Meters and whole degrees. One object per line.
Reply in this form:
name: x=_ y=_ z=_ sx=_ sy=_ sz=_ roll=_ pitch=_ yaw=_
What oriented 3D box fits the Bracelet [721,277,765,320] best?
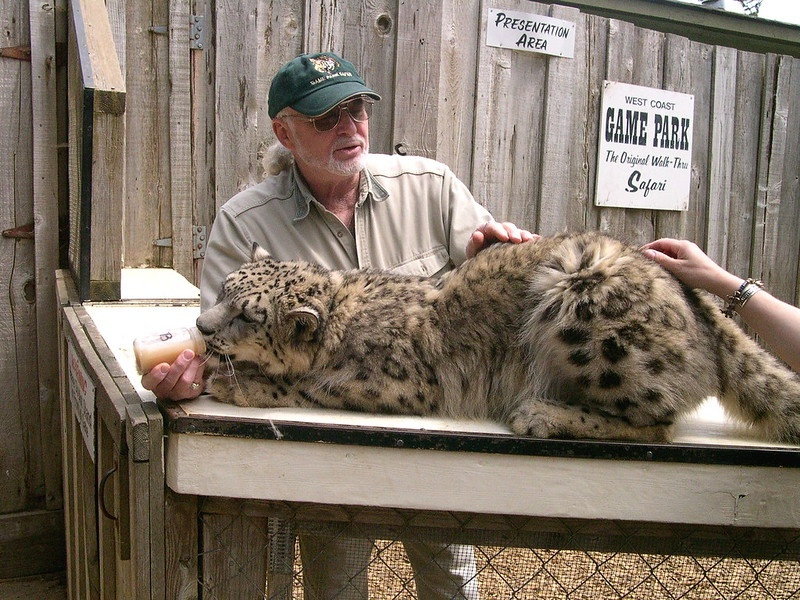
Bracelet: x=1.825 y=-0.043 z=5.758 sx=0.197 sy=0.072 sz=0.180 roll=-40 pitch=-13 yaw=-15

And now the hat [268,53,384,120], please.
hat: x=-0.522 y=-1.300 z=6.831 sx=0.540 sy=0.320 sz=0.418 roll=-18 pitch=8 yaw=35

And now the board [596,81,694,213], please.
board: x=1.909 y=-1.252 z=8.518 sx=0.847 sy=0.979 sz=0.089 roll=5 pitch=4 yaw=-26
